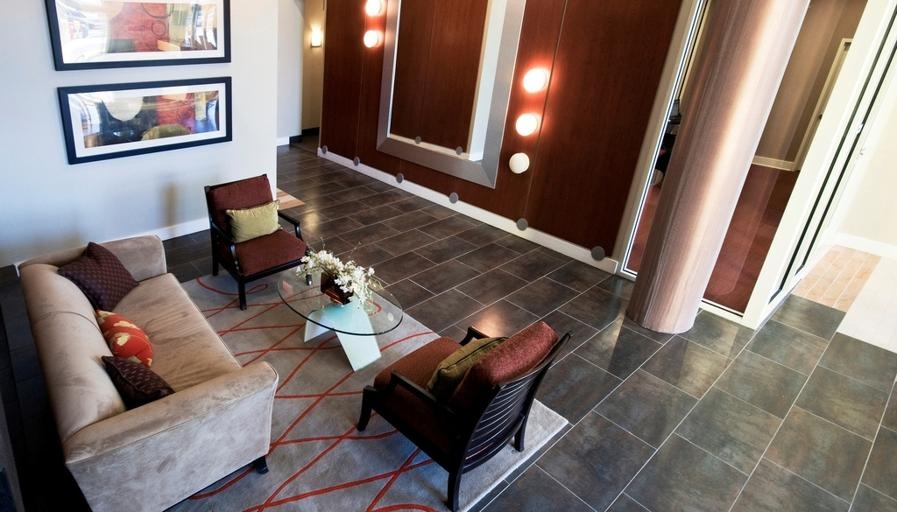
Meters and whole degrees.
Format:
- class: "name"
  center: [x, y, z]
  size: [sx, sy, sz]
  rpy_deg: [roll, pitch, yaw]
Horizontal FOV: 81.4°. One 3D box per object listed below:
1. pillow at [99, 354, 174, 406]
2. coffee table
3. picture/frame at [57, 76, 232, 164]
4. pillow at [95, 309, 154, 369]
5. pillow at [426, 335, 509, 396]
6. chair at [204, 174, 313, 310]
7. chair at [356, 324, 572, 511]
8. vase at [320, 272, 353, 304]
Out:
- class: "pillow"
  center: [-2.936, 1.186, 4.962]
  size: [0.742, 0.281, 0.361]
  rpy_deg: [28, 39, 33]
- class: "coffee table"
  center: [-1.343, 0.930, 6.436]
  size: [1.027, 0.663, 1.782]
  rpy_deg: [-17, 22, -38]
- class: "picture/frame"
  center: [-4.135, -1.864, 7.024]
  size: [1.465, 0.689, 0.028]
  rpy_deg: [-17, 35, -31]
- class: "pillow"
  center: [-3.414, 0.861, 5.558]
  size: [0.415, 0.315, 0.896]
  rpy_deg: [-7, 24, -43]
- class: "pillow"
  center: [0.149, 1.109, 5.230]
  size: [0.735, 0.391, 0.265]
  rpy_deg: [-25, 42, -37]
- class: "chair"
  center: [-2.588, -0.131, 7.003]
  size: [1.138, 1.566, 1.329]
  rpy_deg: [-23, 50, -38]
- class: "chair"
  center: [0.163, 1.375, 5.489]
  size: [1.505, 1.699, 1.349]
  rpy_deg: [-25, 43, -38]
- class: "vase"
  center: [-1.367, 0.345, 6.294]
  size: [0.354, 0.228, 0.195]
  rpy_deg: [11, 16, 1]
